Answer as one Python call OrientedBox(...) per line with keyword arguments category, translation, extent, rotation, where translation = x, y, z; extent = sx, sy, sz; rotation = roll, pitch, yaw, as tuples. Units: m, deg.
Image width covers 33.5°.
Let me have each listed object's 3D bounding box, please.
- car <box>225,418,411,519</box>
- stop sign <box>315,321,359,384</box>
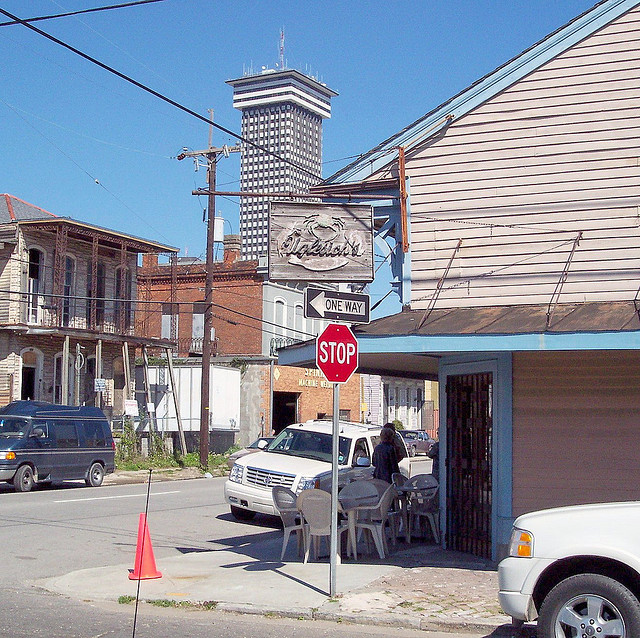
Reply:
OrientedBox(category="car", translation=(0.083, 2.686, 18.749), extent=(1.978, 1.815, 3.812), rotation=(5, -1, 32))
OrientedBox(category="stop sign", translation=(0.192, 0.382, 11.860), extent=(0.488, 0.702, 0.039), rotation=(3, 14, 10))
